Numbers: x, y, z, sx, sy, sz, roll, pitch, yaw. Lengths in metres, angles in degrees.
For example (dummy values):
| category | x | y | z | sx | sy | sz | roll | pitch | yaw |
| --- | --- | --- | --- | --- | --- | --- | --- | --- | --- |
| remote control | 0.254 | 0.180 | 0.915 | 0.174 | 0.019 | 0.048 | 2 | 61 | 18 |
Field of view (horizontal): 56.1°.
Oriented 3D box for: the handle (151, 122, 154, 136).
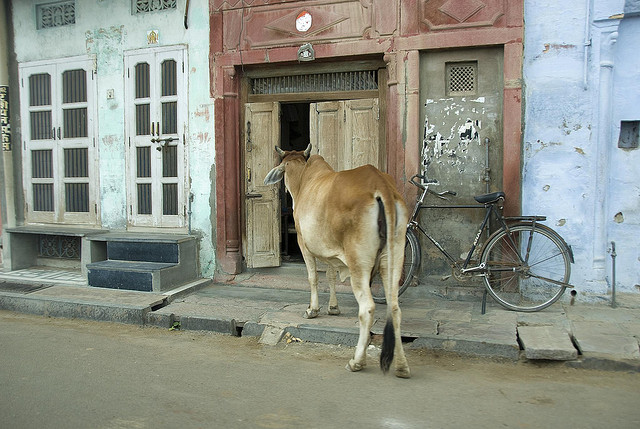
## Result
| category | x | y | z | sx | sy | sz | roll | pitch | yaw |
| --- | --- | --- | --- | --- | --- | --- | --- | --- | --- |
| handle | -2.938 | -1.509 | 10.524 | 0.057 | 0.209 | 0.011 | 1 | 3 | 23 |

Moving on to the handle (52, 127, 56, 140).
| category | x | y | z | sx | sy | sz | roll | pitch | yaw |
| --- | --- | --- | --- | --- | --- | --- | --- | --- | --- |
| handle | -4.938 | -1.515 | 11.139 | 0.085 | 0.198 | 0.014 | 2 | 3 | 31 |

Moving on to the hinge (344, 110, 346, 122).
| category | x | y | z | sx | sy | sz | roll | pitch | yaw |
| --- | --- | --- | --- | --- | --- | --- | --- | --- | --- |
| hinge | 0.409 | -1.601 | 9.689 | 0.022 | 0.171 | 0.006 | 1 | 2 | 10 |

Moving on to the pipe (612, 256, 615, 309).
| category | x | y | z | sx | sy | sz | roll | pitch | yaw |
| --- | --- | --- | --- | --- | --- | --- | --- | --- | --- |
| pipe | 4.197 | 0.956 | 8.553 | 0.039 | 0.746 | 0.081 | 1 | 3 | 21 |

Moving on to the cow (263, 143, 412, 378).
| category | x | y | z | sx | sy | sz | roll | pitch | yaw |
| --- | --- | --- | --- | --- | --- | --- | --- | --- | --- |
| cow | 0.062 | 0.404 | 8.653 | 1.181 | 2.766 | 4.170 | -2 | 9 | -21 |

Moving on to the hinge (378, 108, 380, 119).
| category | x | y | z | sx | sy | sz | roll | pitch | yaw |
| --- | --- | --- | --- | --- | --- | --- | --- | --- | --- |
| hinge | 0.944 | -1.627 | 9.577 | 0.010 | 0.160 | 0.028 | 2 | 3 | 41 |

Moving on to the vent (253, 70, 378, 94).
| category | x | y | z | sx | sy | sz | roll | pitch | yaw |
| --- | --- | --- | --- | --- | --- | --- | --- | --- | --- |
| vent | -0.104 | -2.202 | 9.964 | 2.153 | 0.293 | 0.081 | 1 | 2 | 15 |

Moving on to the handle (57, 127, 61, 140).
| category | x | y | z | sx | sy | sz | roll | pitch | yaw |
| --- | --- | --- | --- | --- | --- | --- | --- | --- | --- |
| handle | -4.827 | -1.498 | 11.092 | 0.086 | 0.177 | 0.014 | 1 | 3 | 24 |

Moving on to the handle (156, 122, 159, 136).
| category | x | y | z | sx | sy | sz | roll | pitch | yaw |
| --- | --- | --- | --- | --- | --- | --- | --- | --- | --- |
| handle | -2.842 | -1.504 | 10.492 | 0.052 | 0.208 | 0.014 | 1 | 3 | 26 |
